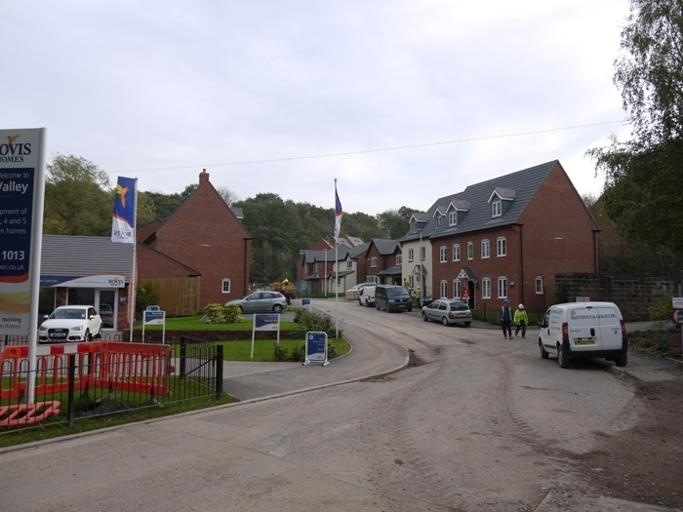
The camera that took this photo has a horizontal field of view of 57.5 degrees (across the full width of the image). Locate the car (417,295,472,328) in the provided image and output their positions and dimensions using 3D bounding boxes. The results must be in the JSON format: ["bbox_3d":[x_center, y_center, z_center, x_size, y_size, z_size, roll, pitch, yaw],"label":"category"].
[{"bbox_3d":[6.402,3.368,37.584,1.295,1.256,3.015,1,1,-18],"label":"car"}]

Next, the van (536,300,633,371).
[{"bbox_3d":[8.147,2.587,20.938,2.028,2.301,2.309,0,4,-4],"label":"van"}]

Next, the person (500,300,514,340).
[{"bbox_3d":[8.263,3.092,30.999,0.541,1.939,1.577,1,5,14],"label":"person"}]

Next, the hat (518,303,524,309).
[{"bbox_3d":[9.897,2.737,34.261,0.340,0.199,0.512,-4,28,15],"label":"hat"}]

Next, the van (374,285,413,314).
[{"bbox_3d":[3.878,3.137,45.791,1.883,1.897,2.611,-1,5,-20],"label":"van"}]

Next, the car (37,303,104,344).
[{"bbox_3d":[-11.479,2.999,26.487,1.777,1.591,2.918,0,4,3],"label":"car"}]

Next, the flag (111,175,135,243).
[{"bbox_3d":[-8.948,-1.880,25.666,0.931,2.711,1.577,-2,5,-19],"label":"flag"}]
